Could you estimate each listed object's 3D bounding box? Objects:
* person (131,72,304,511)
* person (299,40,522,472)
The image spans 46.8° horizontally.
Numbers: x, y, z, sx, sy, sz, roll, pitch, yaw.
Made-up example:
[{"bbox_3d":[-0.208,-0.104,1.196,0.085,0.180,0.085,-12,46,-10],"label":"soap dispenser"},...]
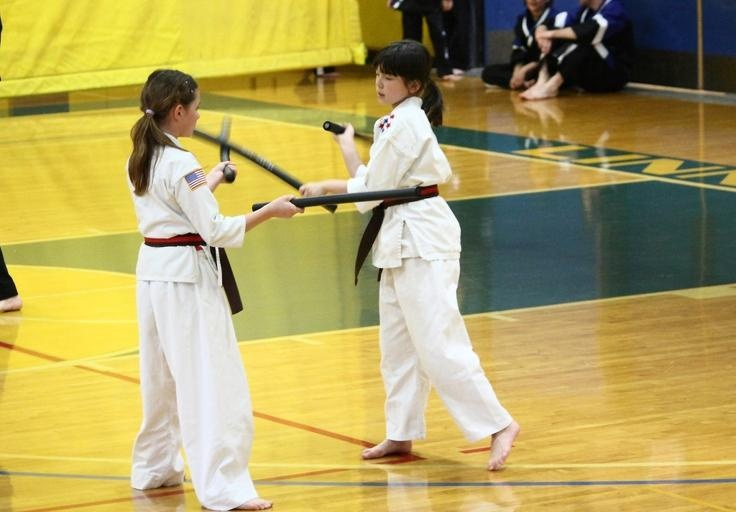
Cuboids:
[{"bbox_3d":[-0.558,0.104,2.705,0.547,1.370,0.579,-5,14,0],"label":"person"},{"bbox_3d":[0.145,-0.015,2.914,0.639,1.417,0.669,-9,15,-13],"label":"person"}]
